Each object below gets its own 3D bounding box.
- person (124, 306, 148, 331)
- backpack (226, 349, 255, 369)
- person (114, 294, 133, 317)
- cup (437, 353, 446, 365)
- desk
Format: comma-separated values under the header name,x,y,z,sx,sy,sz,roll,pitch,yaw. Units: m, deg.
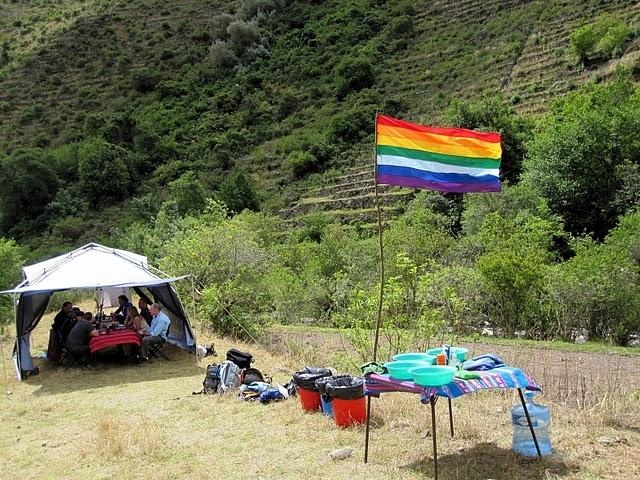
name,x,y,z,sx,sy,sz,roll,pitch,yaw
person,-6.755,2.963,24.875,0.745,0.980,0.632,3,-10,-16
backpack,-2.660,3.982,22.582,0.662,0.328,0.621,18,2,24
person,-7.496,2.541,26.063,0.712,1.164,0.798,2,-4,-23
cup,3.298,3.213,18.334,0.279,0.334,0.229,3,8,24
desk,3.486,4.229,18.086,3.319,2.200,3.242,-7,-4,31
